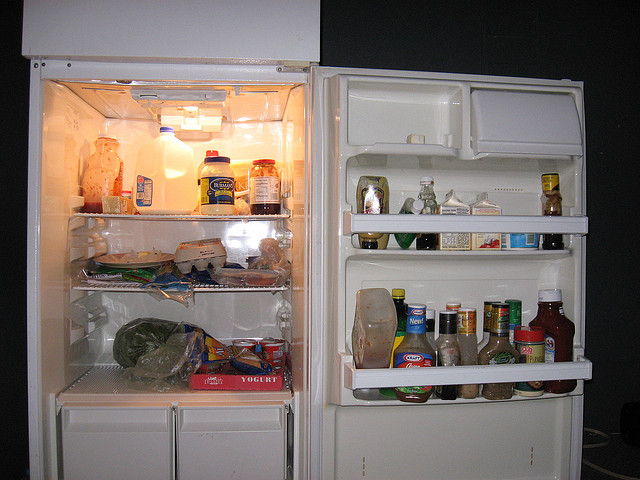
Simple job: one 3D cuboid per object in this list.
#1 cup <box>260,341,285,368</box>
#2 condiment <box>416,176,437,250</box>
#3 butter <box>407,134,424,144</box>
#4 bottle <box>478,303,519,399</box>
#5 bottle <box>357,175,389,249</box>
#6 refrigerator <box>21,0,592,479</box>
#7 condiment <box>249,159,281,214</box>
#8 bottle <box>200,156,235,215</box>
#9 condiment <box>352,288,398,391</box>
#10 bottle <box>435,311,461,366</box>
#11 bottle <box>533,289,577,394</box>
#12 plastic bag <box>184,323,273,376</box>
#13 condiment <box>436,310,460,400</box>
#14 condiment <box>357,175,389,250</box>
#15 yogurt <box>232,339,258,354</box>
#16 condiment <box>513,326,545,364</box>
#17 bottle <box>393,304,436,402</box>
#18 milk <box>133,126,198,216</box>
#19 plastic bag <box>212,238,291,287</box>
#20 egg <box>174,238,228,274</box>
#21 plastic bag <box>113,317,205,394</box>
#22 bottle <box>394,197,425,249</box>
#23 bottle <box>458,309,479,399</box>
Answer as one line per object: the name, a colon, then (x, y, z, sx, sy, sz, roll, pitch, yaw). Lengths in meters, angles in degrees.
cup: (-0.188, 0.455, 2.324, 0.102, 0.099, 0.098, 1, 3, 0)
condiment: (0.385, -0.100, 2.086, 0.075, 0.265, 0.119, 1, 0, 10)
butter: (0.343, -0.365, 2.079, 0.050, 0.034, 0.050, 1, -6, 13)
bottle: (0.629, 0.395, 2.031, 0.141, 0.351, 0.147, 0, 0, 0)
bottle: (0.189, -0.088, 2.093, 0.134, 0.291, 0.105, 3, -23, 4)
refrigerator: (-0.087, 0.026, 2.174, 2.059, 1.945, 0.798, 1, 0, -6)
condiment: (-0.229, -0.214, 2.366, 0.135, 0.228, 0.133, -1, 1, 6)
bottle: (-0.414, -0.216, 2.343, 0.177, 0.243, 0.177, 0, 2, 0)
condiment: (0.189, 0.355, 2.024, 0.136, 0.348, 0.108, 0, 0, -7)
bottle: (0.457, 0.349, 2.059, 0.089, 0.196, 0.061, 1, 0, 11)
bottle: (0.866, 0.371, 2.130, 0.147, 0.399, 0.168, 1, 0, 27)
plastic bag: (-0.343, 0.447, 2.296, 0.265, 0.093, 0.173, 12, -2, 21)
condiment: (0.452, 0.406, 2.047, 0.082, 0.318, 0.079, 1, 0, 12)
condiment: (0.184, -0.102, 2.041, 0.109, 0.254, 0.142, 1, 0, 5)
yogurt: (-0.302, 0.438, 2.401, 0.071, 0.052, 0.060, 2, -3, -7)
condiment: (0.748, 0.369, 2.064, 0.118, 0.128, 0.116, 1, -3, -6)
bottle: (0.339, 0.395, 2.021, 0.151, 0.336, 0.100, 0, 0, -11)
milk: (-0.630, -0.282, 2.379, 0.259, 0.359, 0.254, 4, 4, 5)
plastic bag: (-0.262, 0.099, 2.342, 0.200, 0.078, 0.198, -3, 33, -7)
egg: (-0.494, 0.057, 2.381, 0.169, 0.075, 0.133, -6, 8, -18)
plastic bag: (-0.645, 0.449, 2.294, 0.254, 0.139, 0.294, -17, 31, -32)
bottle: (0.318, -0.059, 2.053, 0.062, 0.171, 0.106, 14, 40, -7)
bottle: (0.527, 0.405, 2.056, 0.073, 0.323, 0.108, 1, 0, 15)
